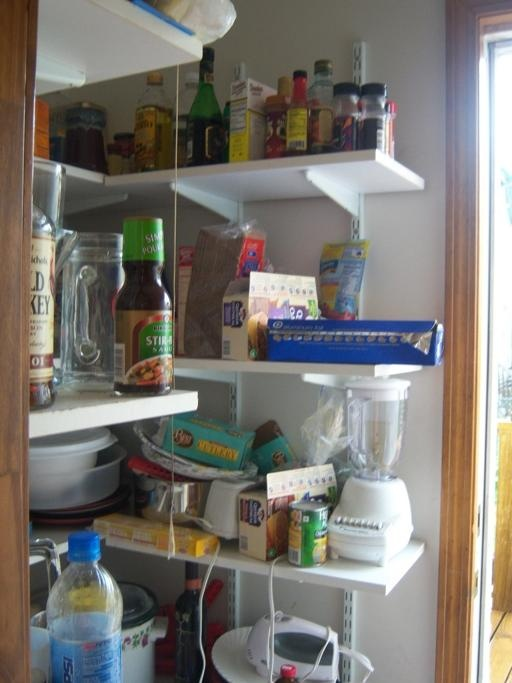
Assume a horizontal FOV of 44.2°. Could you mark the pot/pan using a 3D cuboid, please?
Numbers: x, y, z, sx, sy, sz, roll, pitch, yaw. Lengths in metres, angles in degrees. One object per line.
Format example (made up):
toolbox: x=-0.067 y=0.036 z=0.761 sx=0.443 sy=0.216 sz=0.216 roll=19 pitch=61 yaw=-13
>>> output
pot/pan: x=-0.173 y=0.306 z=1.294 sx=0.153 sy=0.093 sz=0.140 roll=-1 pitch=-8 yaw=12

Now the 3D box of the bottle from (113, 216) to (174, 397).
bottle: x=-0.116 y=-0.037 z=0.643 sx=0.057 sy=0.169 sz=0.089 roll=-1 pitch=5 yaw=-13

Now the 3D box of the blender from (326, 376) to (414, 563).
blender: x=0.220 y=0.232 z=1.179 sx=0.127 sy=0.340 sz=0.152 roll=5 pitch=7 yaw=44

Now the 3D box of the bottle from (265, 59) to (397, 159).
bottle: x=0.128 y=-0.428 z=1.159 sx=0.235 sy=0.193 sz=0.149 roll=4 pitch=6 yaw=28

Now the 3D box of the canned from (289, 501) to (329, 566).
canned: x=0.088 y=0.336 z=1.138 sx=0.070 sy=0.111 sz=0.084 roll=0 pitch=0 yaw=1
